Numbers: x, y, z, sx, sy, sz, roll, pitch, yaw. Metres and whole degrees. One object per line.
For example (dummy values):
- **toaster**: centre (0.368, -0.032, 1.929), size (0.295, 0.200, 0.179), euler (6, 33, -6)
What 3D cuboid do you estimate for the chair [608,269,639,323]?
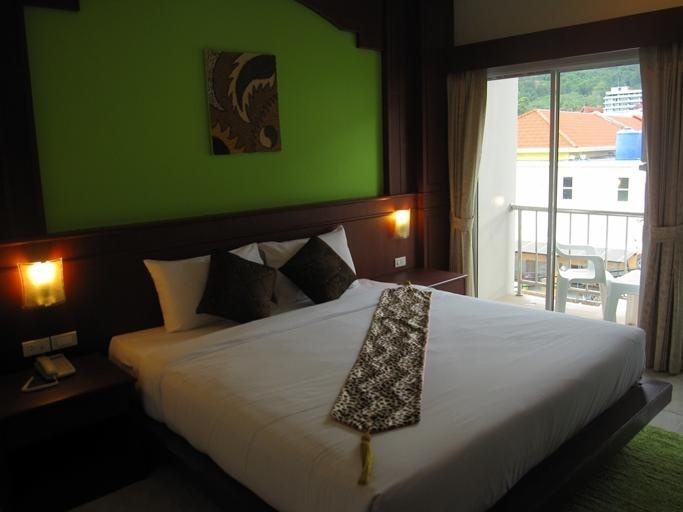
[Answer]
- **chair**: centre (2.722, 0.375, 4.714), size (0.376, 0.421, 0.400), euler (2, 10, 29)

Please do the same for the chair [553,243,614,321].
- **chair**: centre (2.453, 0.246, 4.998), size (0.584, 0.922, 0.624), euler (0, 13, 19)

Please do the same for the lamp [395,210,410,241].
- **lamp**: centre (0.686, -0.344, 5.162), size (0.137, 0.331, 0.272), euler (7, 14, 37)

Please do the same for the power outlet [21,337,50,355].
- **power outlet**: centre (-2.049, 0.608, 3.183), size (0.165, 0.111, 0.028), euler (-9, 14, -35)

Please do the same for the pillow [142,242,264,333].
- **pillow**: centre (-1.060, 0.261, 3.535), size (0.651, 0.636, 0.198), euler (-8, 3, -32)
